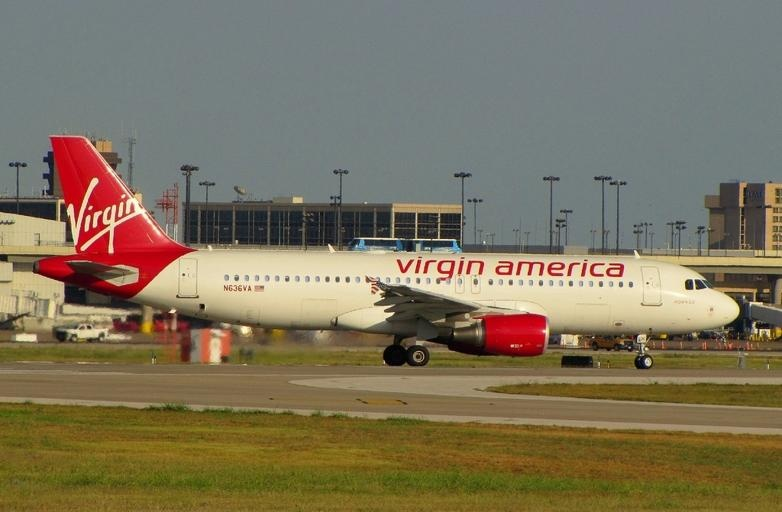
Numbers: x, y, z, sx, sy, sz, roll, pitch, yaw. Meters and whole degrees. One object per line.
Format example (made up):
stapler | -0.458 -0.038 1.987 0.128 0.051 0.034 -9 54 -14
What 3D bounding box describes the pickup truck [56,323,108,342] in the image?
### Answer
pickup truck | -19.766 5.049 104.045 2.736 0.775 1.522 2 -2 2
